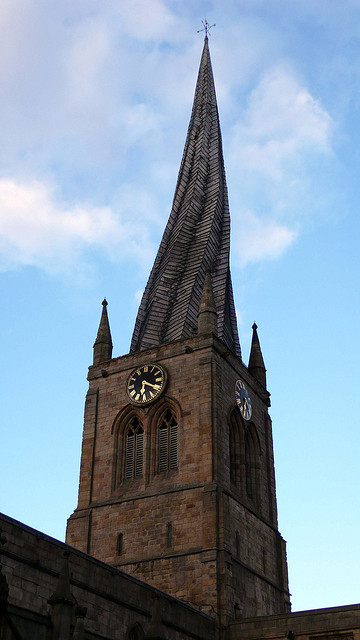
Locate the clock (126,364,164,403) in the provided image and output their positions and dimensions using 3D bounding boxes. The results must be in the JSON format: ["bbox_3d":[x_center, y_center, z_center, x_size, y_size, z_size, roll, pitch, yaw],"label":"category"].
[{"bbox_3d":[-1.605,3.116,50.226,1.675,1.892,0.111,-8,-38,45],"label":"clock"}]

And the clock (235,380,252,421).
[{"bbox_3d":[3.064,3.890,51.201,0.087,2.055,1.838,-13,6,-19],"label":"clock"}]
